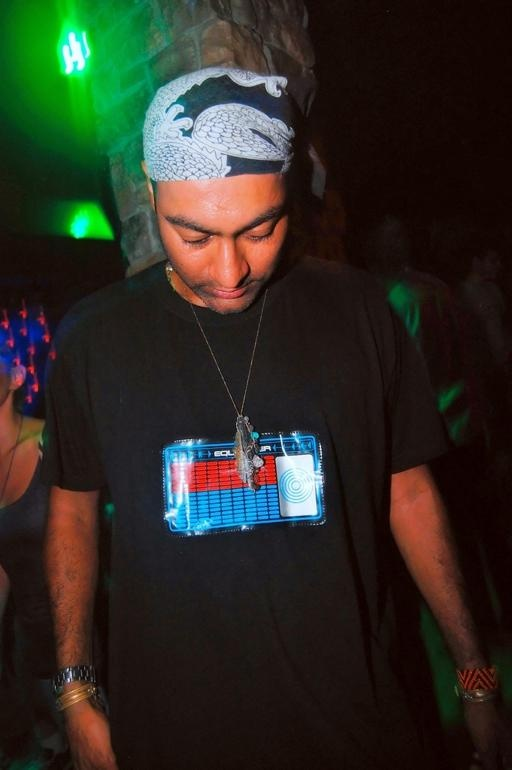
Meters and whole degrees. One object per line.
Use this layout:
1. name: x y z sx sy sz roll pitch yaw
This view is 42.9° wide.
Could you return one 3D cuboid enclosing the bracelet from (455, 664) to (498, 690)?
1. bracelet: 0.565 0.732 1.650 0.068 0.068 0.044 -1 67 4
